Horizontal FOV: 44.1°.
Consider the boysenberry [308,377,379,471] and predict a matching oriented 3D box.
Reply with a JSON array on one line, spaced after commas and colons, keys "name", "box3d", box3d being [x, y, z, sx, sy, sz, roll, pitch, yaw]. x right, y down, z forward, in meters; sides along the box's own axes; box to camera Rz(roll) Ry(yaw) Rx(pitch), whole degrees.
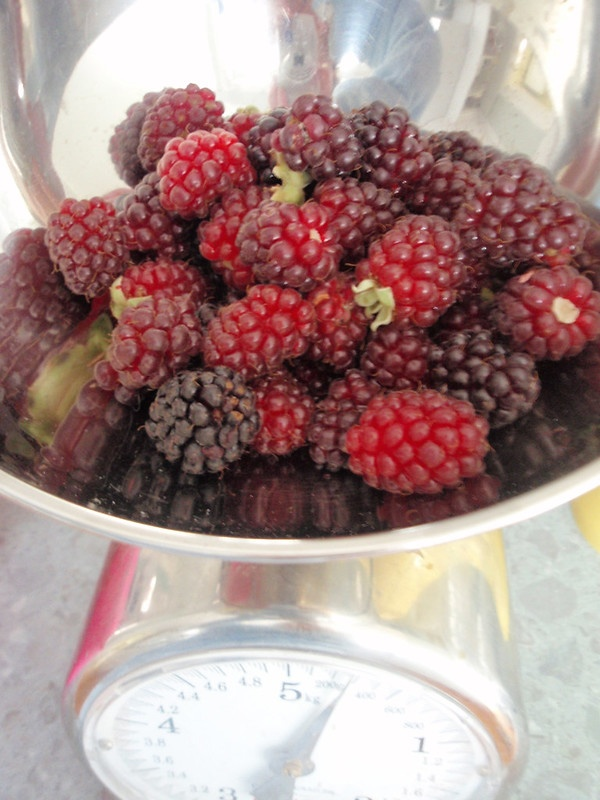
[{"name": "boysenberry", "box3d": [0.049, 0.019, 0.844, 0.057, 0.062, 0.109, 27, 52, 7]}]

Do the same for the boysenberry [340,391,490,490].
[{"name": "boysenberry", "box3d": [0.117, 0.038, 0.734, 0.127, 0.060, 0.100, 8, 51, 17]}]

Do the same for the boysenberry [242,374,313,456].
[{"name": "boysenberry", "box3d": [-0.022, 0.017, 0.798, 0.073, 0.048, 0.078, -1, 76, -11]}]

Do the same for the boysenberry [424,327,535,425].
[{"name": "boysenberry", "box3d": [0.203, -0.034, 0.853, 0.122, 0.086, 0.071, 36, 29, 26]}]

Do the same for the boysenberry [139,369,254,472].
[{"name": "boysenberry", "box3d": [-0.096, 0.022, 0.767, 0.107, 0.096, 0.102, -21, 55, -22]}]
